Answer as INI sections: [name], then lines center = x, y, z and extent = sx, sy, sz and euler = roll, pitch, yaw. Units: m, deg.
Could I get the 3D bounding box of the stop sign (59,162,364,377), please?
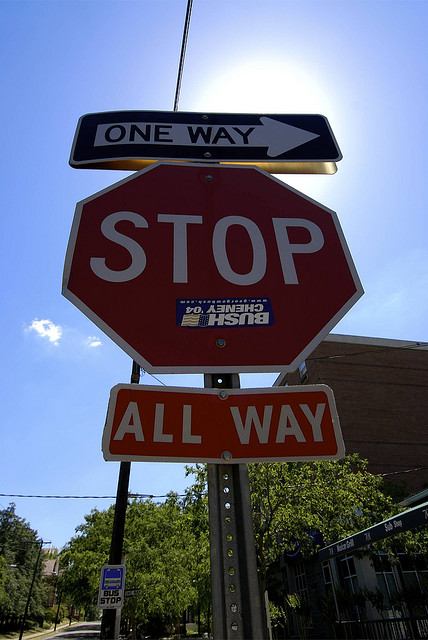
[stop sign]
center = -0.013, -0.193, 1.675
extent = 0.906, 0.838, 0.065
euler = 3, -32, -10
